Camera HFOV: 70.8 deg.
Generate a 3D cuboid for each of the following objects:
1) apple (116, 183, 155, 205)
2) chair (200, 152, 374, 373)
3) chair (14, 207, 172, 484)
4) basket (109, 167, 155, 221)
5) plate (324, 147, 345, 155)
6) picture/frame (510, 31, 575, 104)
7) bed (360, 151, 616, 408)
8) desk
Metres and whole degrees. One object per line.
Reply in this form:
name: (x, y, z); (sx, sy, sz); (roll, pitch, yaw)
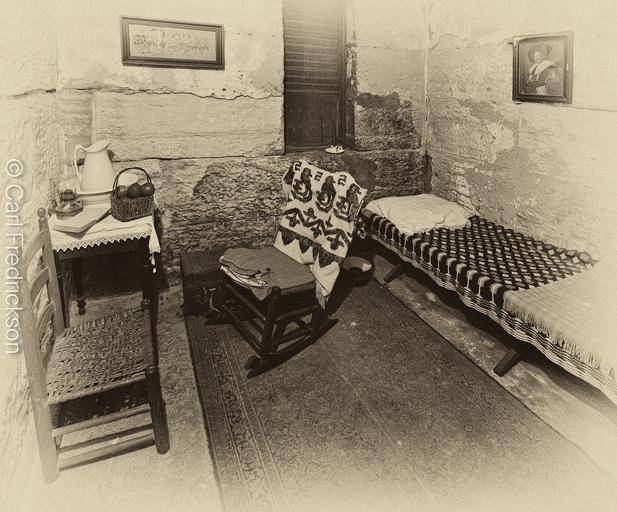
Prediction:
apple: (-1.172, -0.432, 2.917); (0.247, 0.100, 0.180); (-11, 21, -27)
chair: (-0.229, 0.023, 3.176); (1.059, 1.277, 1.116); (-2, 26, -19)
chair: (-1.175, 0.489, 2.344); (0.613, 1.218, 0.687); (-7, 50, -23)
basket: (-1.218, -0.429, 2.902); (0.222, 0.354, 0.312); (21, 24, 31)
plate: (0.244, -0.973, 4.042); (0.104, 0.022, 0.111); (-4, 46, -1)
picture/frame: (1.689, -1.346, 3.094); (0.050, 0.545, 0.535); (-9, 16, -24)
bed: (1.274, 0.146, 2.904); (0.822, 0.387, 1.554); (-15, 32, -23)
desk: (-1.408, 0.107, 2.945); (0.587, 0.594, 0.453); (-15, 30, -39)
